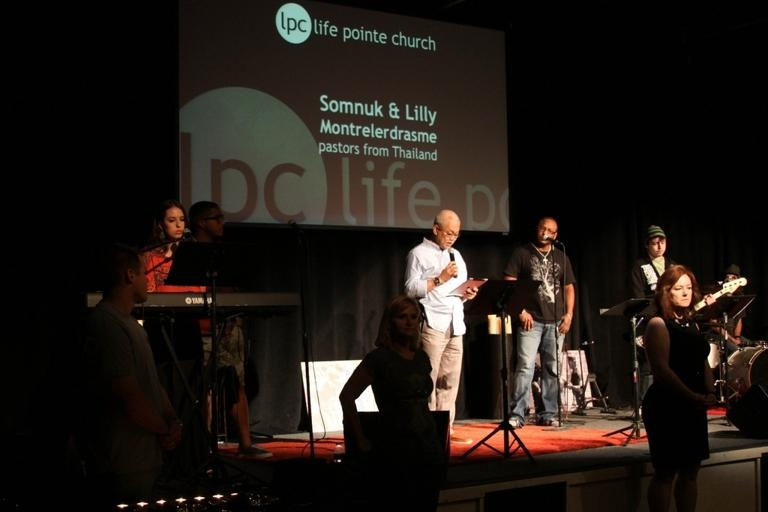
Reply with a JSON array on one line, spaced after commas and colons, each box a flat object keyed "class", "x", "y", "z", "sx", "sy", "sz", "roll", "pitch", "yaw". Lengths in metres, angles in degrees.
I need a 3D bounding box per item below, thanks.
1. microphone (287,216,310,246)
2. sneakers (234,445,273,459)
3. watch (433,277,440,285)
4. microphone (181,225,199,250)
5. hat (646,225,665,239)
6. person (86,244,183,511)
[{"class": "microphone", "x": -0.905, "y": -0.281, "z": 7.565, "sx": 0.079, "sy": 0.331, "sz": 0.232, "roll": -14, "pitch": -17, "yaw": 16}, {"class": "sneakers", "x": -1.210, "y": 1.766, "z": 6.682, "sx": 0.282, "sy": 0.112, "sz": 0.167, "roll": 0, "pitch": -6, "yaw": -4}, {"class": "watch", "x": 0.514, "y": 0.240, "z": 7.074, "sx": 0.063, "sy": 0.037, "sz": 0.091, "roll": -1, "pitch": 4, "yaw": 4}, {"class": "microphone", "x": -1.601, "y": -0.154, "z": 5.933, "sx": 0.069, "sy": 0.105, "sz": 0.303, "roll": -23, "pitch": 7, "yaw": -5}, {"class": "hat", "x": 3.441, "y": -0.316, "z": 9.163, "sx": 0.183, "sy": 0.192, "sz": 0.284, "roll": -4, "pitch": -7, "yaw": -7}, {"class": "person", "x": -1.561, "y": 0.703, "z": 4.485, "sx": 0.557, "sy": 1.546, "sz": 0.302, "roll": 0, "pitch": -2, "yaw": -19}]
